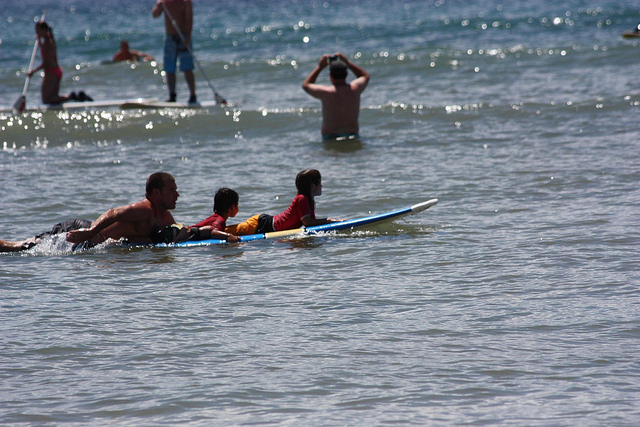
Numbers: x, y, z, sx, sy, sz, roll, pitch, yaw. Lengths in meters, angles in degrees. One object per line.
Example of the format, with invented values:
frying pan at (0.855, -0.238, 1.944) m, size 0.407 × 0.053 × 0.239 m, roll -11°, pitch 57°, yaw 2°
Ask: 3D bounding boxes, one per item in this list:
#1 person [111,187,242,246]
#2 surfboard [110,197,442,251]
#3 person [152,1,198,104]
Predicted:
person at (-2.127, 0.050, 18.935) m, size 1.911 × 0.520 × 0.917 m, roll -7°, pitch 11°, yaw -16°
surfboard at (-0.669, 0.193, 19.166) m, size 4.888 × 0.259 × 0.433 m, roll -5°, pitch 29°, yaw -4°
person at (-3.066, -3.420, 26.025) m, size 0.814 × 2.200 × 0.864 m, roll -3°, pitch 18°, yaw -5°
